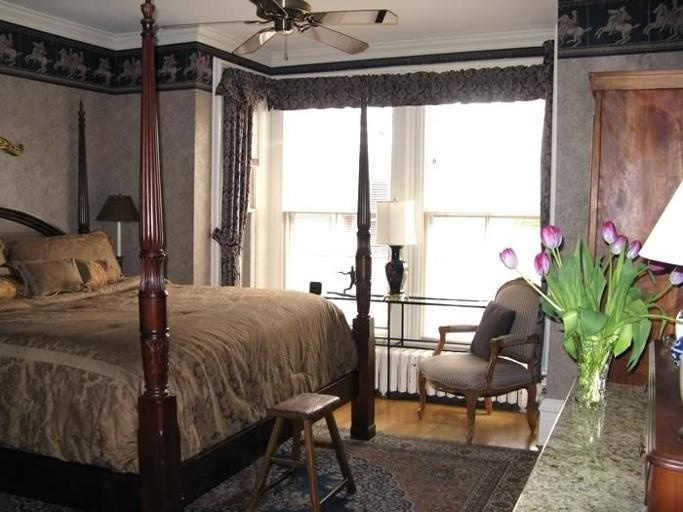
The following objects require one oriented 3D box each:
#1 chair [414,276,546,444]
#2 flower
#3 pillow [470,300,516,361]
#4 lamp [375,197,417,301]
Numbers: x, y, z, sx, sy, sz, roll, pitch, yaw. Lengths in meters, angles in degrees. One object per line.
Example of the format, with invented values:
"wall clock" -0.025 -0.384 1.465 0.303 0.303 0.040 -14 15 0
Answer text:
"chair" 1.175 0.872 5.056 0.917 1.361 0.971 4 3 37
"flower" 0.936 0.191 2.558 0.690 0.871 0.823 1 -1 11
"pillow" 1.274 0.648 5.020 0.229 0.442 0.477 7 0 -8
"lamp" 0.515 -0.056 5.617 0.410 0.949 0.371 -3 7 -24
